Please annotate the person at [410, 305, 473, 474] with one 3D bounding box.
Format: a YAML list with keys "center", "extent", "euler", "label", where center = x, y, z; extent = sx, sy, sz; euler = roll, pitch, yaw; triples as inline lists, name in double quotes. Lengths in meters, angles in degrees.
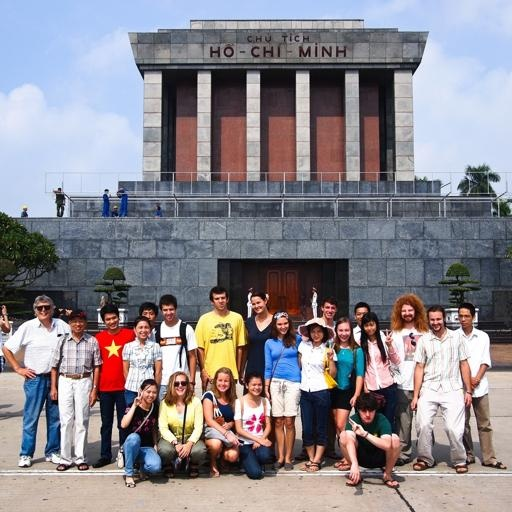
- center: [2.532, 1.799, 13.451]
  extent: [0.803, 2.177, 0.717]
  euler: [2, 6, 14]
  label: "person"

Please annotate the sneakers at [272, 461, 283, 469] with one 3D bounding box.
- center: [0.289, 2.867, 13.426]
  extent: [0.158, 0.066, 0.136]
  euler: [1, 8, 0]
  label: "sneakers"

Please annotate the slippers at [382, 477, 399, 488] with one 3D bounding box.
- center: [1.739, 2.944, 12.756]
  extent: [0.203, 0.073, 0.180]
  euler: [2, 8, 9]
  label: "slippers"

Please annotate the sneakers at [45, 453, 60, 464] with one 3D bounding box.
- center: [-2.812, 2.786, 13.531]
  extent: [0.230, 0.112, 0.100]
  euler: [-13, -13, 43]
  label: "sneakers"

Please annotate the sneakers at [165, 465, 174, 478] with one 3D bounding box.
- center: [-1.171, 2.876, 13.091]
  extent: [0.131, 0.118, 0.400]
  euler: [0, -1, -9]
  label: "sneakers"

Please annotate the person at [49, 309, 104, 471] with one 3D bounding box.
- center: [-2.491, 1.831, 13.481]
  extent: [0.686, 2.054, 0.734]
  euler: [0, 6, -8]
  label: "person"

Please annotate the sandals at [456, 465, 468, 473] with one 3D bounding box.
- center: [2.756, 2.856, 13.241]
  extent: [0.167, 0.112, 0.171]
  euler: [2, 8, 12]
  label: "sandals"

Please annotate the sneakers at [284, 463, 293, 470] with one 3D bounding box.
- center: [0.439, 2.874, 13.459]
  extent: [0.131, 0.054, 0.264]
  euler: [1, 8, 3]
  label: "sneakers"

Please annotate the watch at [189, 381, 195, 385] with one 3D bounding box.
- center: [-0.892, 1.779, 13.607]
  extent: [0.050, 0.056, 0.051]
  euler: [1, 9, -2]
  label: "watch"

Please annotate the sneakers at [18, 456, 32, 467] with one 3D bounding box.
- center: [-3.164, 2.786, 13.412]
  extent: [0.181, 0.136, 0.269]
  euler: [-1, 8, -14]
  label: "sneakers"

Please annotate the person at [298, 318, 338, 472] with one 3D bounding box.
- center: [0.827, 1.920, 13.588]
  extent: [0.518, 1.881, 0.863]
  euler: [1, 6, 2]
  label: "person"

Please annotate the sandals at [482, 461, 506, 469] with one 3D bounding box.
- center: [3.231, 2.843, 13.386]
  extent: [0.250, 0.079, 0.098]
  euler: [-1, -4, 10]
  label: "sandals"

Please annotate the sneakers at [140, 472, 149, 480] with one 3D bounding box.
- center: [-1.486, 2.896, 13.005]
  extent: [0.115, 0.105, 0.107]
  euler: [-1, 7, -11]
  label: "sneakers"

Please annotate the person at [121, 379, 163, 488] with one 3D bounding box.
- center: [-1.531, 2.309, 13.005]
  extent: [0.524, 1.263, 0.795]
  euler: [0, 7, -8]
  label: "person"

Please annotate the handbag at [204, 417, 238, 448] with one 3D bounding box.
- center: [-0.487, 2.381, 13.184]
  extent: [0.301, 0.148, 0.316]
  euler: [21, -3, -20]
  label: "handbag"

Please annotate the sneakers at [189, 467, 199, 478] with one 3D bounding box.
- center: [-0.840, 2.880, 13.115]
  extent: [0.127, 0.126, 0.098]
  euler: [0, 7, -4]
  label: "sneakers"

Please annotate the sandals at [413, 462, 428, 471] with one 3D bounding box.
- center: [2.229, 2.849, 13.352]
  extent: [0.207, 0.104, 0.160]
  euler: [2, 8, 11]
  label: "sandals"

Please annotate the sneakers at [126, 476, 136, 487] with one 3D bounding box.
- center: [-1.644, 2.916, 12.778]
  extent: [0.136, 0.114, 0.262]
  euler: [-1, 8, -10]
  label: "sneakers"

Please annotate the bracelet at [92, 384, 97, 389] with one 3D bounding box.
- center: [-2.246, 1.816, 13.627]
  extent: [0.030, 0.050, 0.050]
  euler: [-3, 25, -20]
  label: "bracelet"

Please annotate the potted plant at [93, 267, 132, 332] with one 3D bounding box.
- center: [-4.662, 1.290, 31.638]
  extent: [1.162, 1.926, 0.921]
  euler: [3, -1, -24]
  label: "potted plant"

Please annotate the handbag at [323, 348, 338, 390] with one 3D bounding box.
- center: [1.016, 1.585, 13.573]
  extent: [0.188, 0.601, 0.189]
  euler: [-2, 7, -21]
  label: "handbag"

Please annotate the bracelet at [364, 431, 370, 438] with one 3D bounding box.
- center: [1.445, 2.336, 12.838]
  extent: [0.061, 0.075, 0.074]
  euler: [2, 7, 10]
  label: "bracelet"

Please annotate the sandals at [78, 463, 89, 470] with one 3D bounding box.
- center: [-2.350, 2.846, 13.307]
  extent: [0.157, 0.089, 0.169]
  euler: [-2, 8, -16]
  label: "sandals"

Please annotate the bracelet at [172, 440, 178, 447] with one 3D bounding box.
- center: [-1.089, 2.477, 12.982]
  extent: [0.062, 0.061, 0.016]
  euler: [36, 27, -9]
  label: "bracelet"

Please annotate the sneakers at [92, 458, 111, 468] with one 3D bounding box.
- center: [-2.122, 2.835, 13.448]
  extent: [0.094, 0.118, 0.266]
  euler: [-8, -12, 36]
  label: "sneakers"

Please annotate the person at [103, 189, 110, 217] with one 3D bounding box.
- center: [-5.502, -1.858, 35.758]
  extent: [0.250, 1.030, 1.673]
  euler: [-1, 8, -11]
  label: "person"

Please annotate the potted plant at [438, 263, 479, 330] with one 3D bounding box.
- center: [6.427, 1.205, 31.194]
  extent: [0.881, 2.064, 1.196]
  euler: [-5, 2, -24]
  label: "potted plant"

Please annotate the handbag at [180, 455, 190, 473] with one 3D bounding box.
- center: [-0.956, 2.783, 13.123]
  extent: [0.141, 0.280, 0.152]
  euler: [2, 7, 17]
  label: "handbag"

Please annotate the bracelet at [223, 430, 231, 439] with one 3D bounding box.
- center: [-0.398, 2.396, 13.133]
  extent: [0.064, 0.117, 0.096]
  euler: [-2, -8, 0]
  label: "bracelet"

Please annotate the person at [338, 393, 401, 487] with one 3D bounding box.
- center: [1.446, 2.399, 12.825]
  extent: [0.696, 1.168, 1.290]
  euler: [0, -5, 19]
  label: "person"

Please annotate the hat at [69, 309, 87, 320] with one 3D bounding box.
- center: [-2.473, 0.854, 13.690]
  extent: [0.180, 0.146, 0.318]
  euler: [-2, -14, -2]
  label: "hat"

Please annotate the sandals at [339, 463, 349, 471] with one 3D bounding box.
- center: [1.181, 2.870, 13.355]
  extent: [0.144, 0.042, 0.063]
  euler: [16, -19, -25]
  label: "sandals"

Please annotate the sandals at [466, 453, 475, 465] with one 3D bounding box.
- center: [2.951, 2.817, 13.599]
  extent: [0.083, 0.222, 0.303]
  euler: [-3, -11, 8]
  label: "sandals"
